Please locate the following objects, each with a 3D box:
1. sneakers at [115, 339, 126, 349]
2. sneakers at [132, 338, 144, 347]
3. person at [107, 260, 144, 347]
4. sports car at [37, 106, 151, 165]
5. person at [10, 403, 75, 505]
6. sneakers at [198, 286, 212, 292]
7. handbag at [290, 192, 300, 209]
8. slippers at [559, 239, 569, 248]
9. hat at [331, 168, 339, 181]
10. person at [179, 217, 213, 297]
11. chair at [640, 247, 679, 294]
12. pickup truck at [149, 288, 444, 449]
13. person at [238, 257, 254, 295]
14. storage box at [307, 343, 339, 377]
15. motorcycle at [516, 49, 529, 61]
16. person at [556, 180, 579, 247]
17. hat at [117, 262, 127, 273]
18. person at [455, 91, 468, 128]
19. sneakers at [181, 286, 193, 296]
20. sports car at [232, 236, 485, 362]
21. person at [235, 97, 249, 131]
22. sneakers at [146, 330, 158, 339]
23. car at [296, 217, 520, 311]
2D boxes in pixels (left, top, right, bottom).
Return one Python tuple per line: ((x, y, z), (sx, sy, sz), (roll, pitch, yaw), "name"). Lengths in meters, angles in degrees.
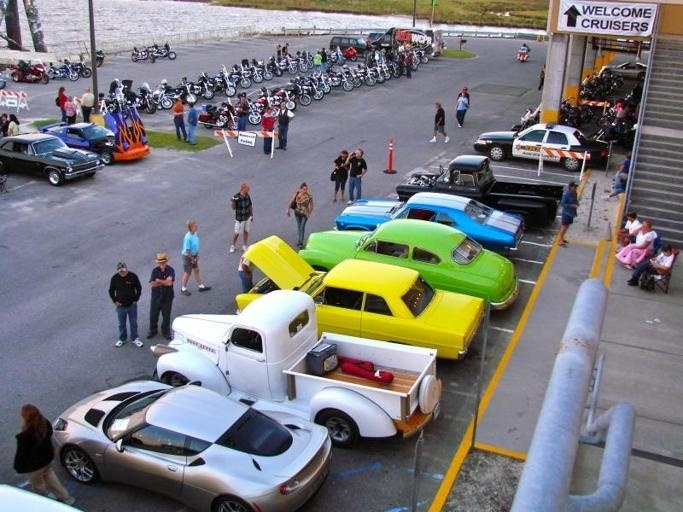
((-4.868, 1.943, 13.389), (0.092, 0.105, 0.255), (0, 9, -5), "sneakers")
((-4.478, 1.908, 13.475), (0.326, 0.147, 0.124), (17, 30, 40), "sneakers")
((-4.725, 1.012, 13.383), (0.680, 1.886, 0.894), (-8, 23, -20), "person")
((-10.225, -5.035, 24.854), (4.180, 2.015, 1.887), (12, 26, 13), "sports car")
((-4.644, 3.151, 9.404), (0.719, 1.840, 0.402), (-14, 25, -31), "person")
((-3.476, 0.837, 15.532), (0.335, 0.155, 0.125), (-4, 21, -10), "sneakers")
((-1.341, -1.517, 17.336), (0.199, 0.435, 0.299), (28, -4, -13), "handbag")
((6.506, -0.326, 17.684), (0.112, 0.137, 0.325), (-20, 27, -33), "slippers")
((-0.244, -2.643, 20.527), (0.217, 0.429, 0.462), (-2, 22, -6), "hat")
((-3.868, -0.165, 15.727), (0.686, 1.949, 1.579), (-6, 23, -14), "person")
((7.894, 0.551, 15.212), (0.769, 0.610, 0.445), (4, 22, 8), "chair")
((-0.911, 1.969, 11.857), (5.523, 2.086, 2.550), (6, 15, 26), "pickup truck")
((-2.291, 0.519, 14.626), (0.264, 0.821, 0.312), (-24, 68, -13), "person")
((-0.362, 1.904, 11.531), (0.450, 0.524, 0.688), (6, 20, 18), "storage box")
((16.071, -17.523, 53.832), (0.850, 0.954, 1.527), (5, 23, 12), "motorcycle")
((6.700, -1.139, 18.069), (0.640, 2.022, 0.801), (9, 51, 24), "person")
((-4.835, 0.282, 13.419), (0.180, 0.237, 0.236), (-4, 39, -24), "hat")
((6.060, -7.383, 30.469), (0.495, 1.944, 1.231), (3, 22, 8), "person")
((-3.920, 0.924, 15.423), (0.285, 0.125, 0.162), (25, 34, 36), "sneakers")
((0.375, 0.710, 13.708), (5.475, 2.428, 2.447), (14, 36, 19), "sports car")
((-4.634, -6.583, 28.466), (0.513, 1.462, 1.075), (-3, 22, -7), "person")
((-4.285, 1.776, 13.738), (0.097, 0.134, 0.306), (9, 13, 20), "sneakers")
((1.489, -0.021, 15.100), (5.253, 1.794, 2.340), (18, 32, 17), "car")
